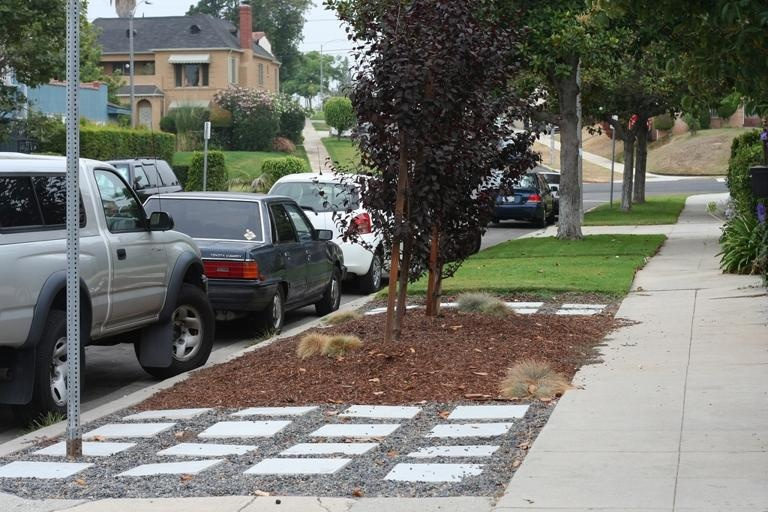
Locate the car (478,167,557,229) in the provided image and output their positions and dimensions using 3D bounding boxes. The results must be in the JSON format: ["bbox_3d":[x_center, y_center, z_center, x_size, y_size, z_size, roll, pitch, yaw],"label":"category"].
[{"bbox_3d":[4.926,-1.930,30.845,1.337,1.992,2.904,2,9,29],"label":"car"}]
